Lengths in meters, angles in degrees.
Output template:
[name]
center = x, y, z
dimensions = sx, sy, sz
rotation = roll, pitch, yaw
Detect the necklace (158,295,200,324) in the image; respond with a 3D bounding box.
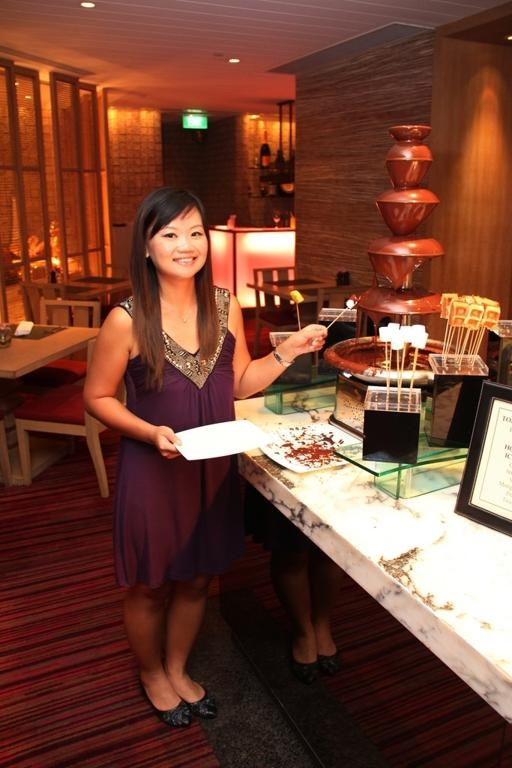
[necklace]
center = -0.184, -0.181, 1.348
dimensions = 0.067, 0.063, 0.020
rotation = -4, 5, -26

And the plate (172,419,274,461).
[plate]
center = -0.070, 0.117, 1.131
dimensions = 0.136, 0.018, 0.103
rotation = -14, 26, -32

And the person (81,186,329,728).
[person]
center = -0.137, 0.263, 1.465
dimensions = 0.515, 1.475, 0.382
rotation = -12, 16, -31

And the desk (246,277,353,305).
[desk]
center = 0.525, -0.895, 5.323
dimensions = 0.530, 0.197, 0.555
rotation = -14, 27, -30

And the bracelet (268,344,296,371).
[bracelet]
center = 0.065, -0.064, 1.471
dimensions = 0.053, 0.037, 0.067
rotation = 28, 18, -42
